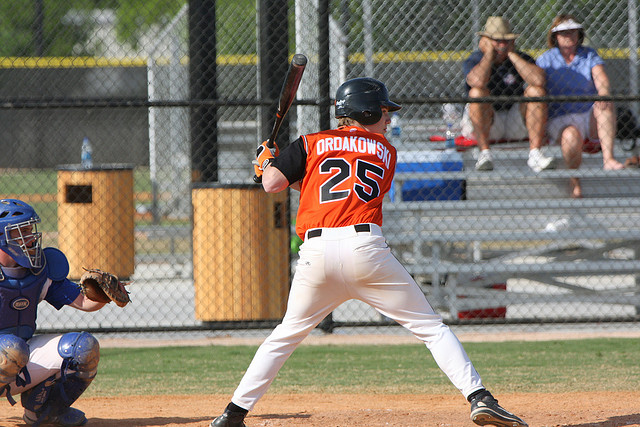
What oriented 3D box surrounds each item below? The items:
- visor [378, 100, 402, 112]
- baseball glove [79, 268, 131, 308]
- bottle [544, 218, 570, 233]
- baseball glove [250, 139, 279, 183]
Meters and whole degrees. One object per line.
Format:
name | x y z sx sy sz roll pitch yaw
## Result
visor | 0.648 -1.005 11.139 0.119 0.094 0.311 1 0 25
baseball glove | -1.970 0.665 11.195 0.422 0.286 0.302 34 34 3
bottle | 2.665 0.122 13.504 0.205 0.087 0.140 -10 0 22
baseball glove | -0.539 -0.501 11.092 0.225 0.387 0.101 44 -18 -30
